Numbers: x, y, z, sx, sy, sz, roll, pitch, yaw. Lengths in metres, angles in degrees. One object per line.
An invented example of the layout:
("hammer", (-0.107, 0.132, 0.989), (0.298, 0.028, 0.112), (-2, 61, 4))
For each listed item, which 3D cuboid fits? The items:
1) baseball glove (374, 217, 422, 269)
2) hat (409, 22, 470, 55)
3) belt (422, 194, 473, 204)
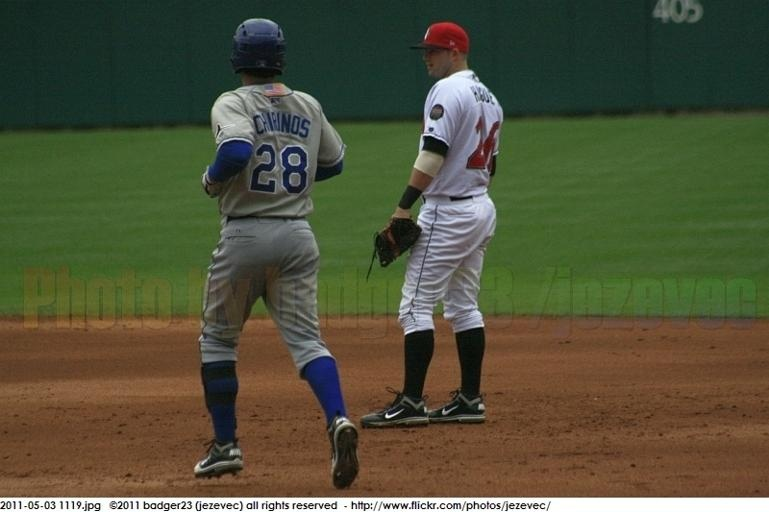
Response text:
("baseball glove", (0.172, -0.205, 19.772), (0.743, 0.476, 0.367), (-42, -1, 7))
("hat", (0.758, -2.968, 19.834), (0.777, 0.368, 0.530), (-1, 12, -3))
("belt", (0.863, -0.745, 19.603), (0.680, 0.103, 0.092), (0, 3, 8))
